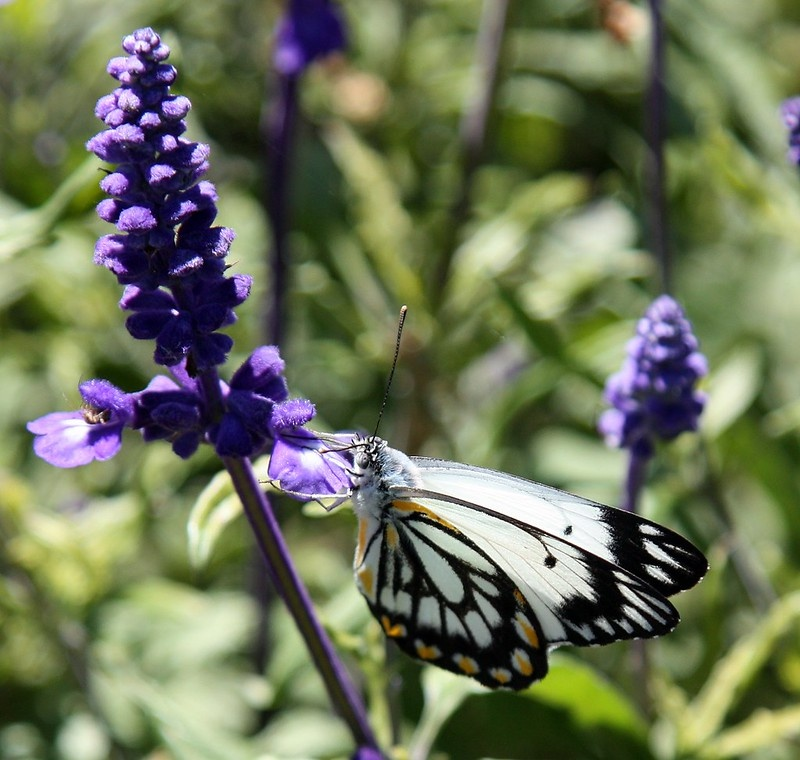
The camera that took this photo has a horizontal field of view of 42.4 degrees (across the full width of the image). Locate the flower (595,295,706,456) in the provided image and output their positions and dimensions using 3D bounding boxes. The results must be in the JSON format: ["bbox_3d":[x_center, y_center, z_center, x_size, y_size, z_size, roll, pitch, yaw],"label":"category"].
[{"bbox_3d":[0.659,0.001,2.745,0.244,0.432,0.218,-15,51,-10],"label":"flower"}]
